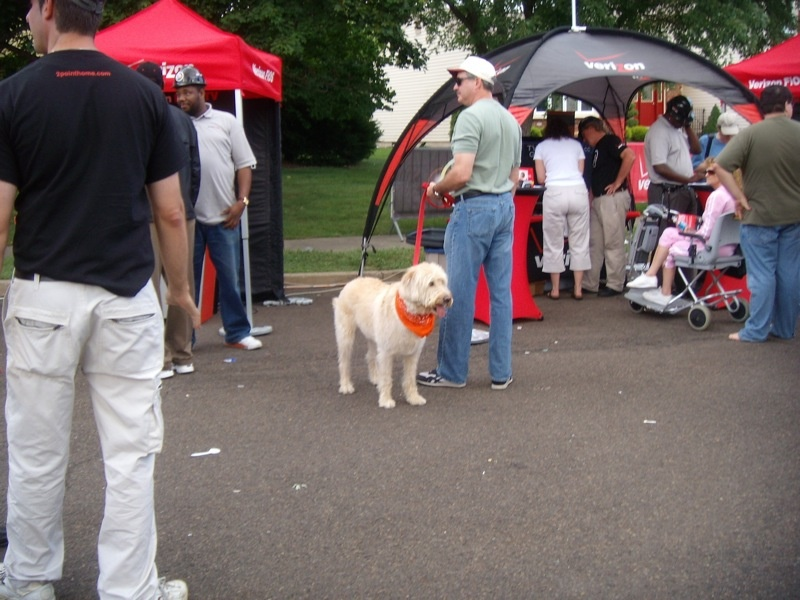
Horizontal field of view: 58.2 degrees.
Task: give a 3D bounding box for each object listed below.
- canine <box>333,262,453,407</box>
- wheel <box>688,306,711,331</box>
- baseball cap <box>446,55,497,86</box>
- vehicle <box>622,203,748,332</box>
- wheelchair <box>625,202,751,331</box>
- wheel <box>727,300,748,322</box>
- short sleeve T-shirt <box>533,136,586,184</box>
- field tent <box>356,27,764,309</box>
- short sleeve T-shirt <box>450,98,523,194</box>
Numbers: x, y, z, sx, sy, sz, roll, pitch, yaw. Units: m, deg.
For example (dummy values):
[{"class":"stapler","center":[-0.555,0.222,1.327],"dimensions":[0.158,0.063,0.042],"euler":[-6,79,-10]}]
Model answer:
[{"class":"canine","center":[-0.149,0.243,5.947],"dimensions":[1.317,1.195,0.428],"euler":[9,13,42]},{"class":"wheel","center":[3.256,0.204,7.778],"dimensions":[0.082,0.286,0.214],"euler":[-6,6,-39]},{"class":"baseball cap","center":[0.610,-1.890,5.889],"dimensions":[0.317,0.178,0.246],"euler":[25,19,3]},{"class":"vehicle","center":[3.403,-0.424,8.660],"dimensions":[1.078,1.659,1.520],"euler":[-11,17,-37]},{"class":"wheelchair","center":[3.405,-0.509,8.646],"dimensions":[1.089,1.658,1.514],"euler":[-10,17,-37]},{"class":"wheel","center":[3.859,0.114,8.172],"dimensions":[0.188,0.247,0.076],"euler":[7,11,44]},{"class":"short sleeve T-shirt","center":[2.023,-1.699,9.246],"dimensions":[0.756,0.882,0.481],"euler":[0,4,10]},{"class":"field tent","center":[1.774,-2.797,8.911],"dimensions":[3.377,2.912,3.762],"euler":[-11,20,-1]},{"class":"short sleeve T-shirt","center":[0.733,-1.260,5.902],"dimensions":[0.721,0.757,0.253],"euler":[-11,15,-40]}]
